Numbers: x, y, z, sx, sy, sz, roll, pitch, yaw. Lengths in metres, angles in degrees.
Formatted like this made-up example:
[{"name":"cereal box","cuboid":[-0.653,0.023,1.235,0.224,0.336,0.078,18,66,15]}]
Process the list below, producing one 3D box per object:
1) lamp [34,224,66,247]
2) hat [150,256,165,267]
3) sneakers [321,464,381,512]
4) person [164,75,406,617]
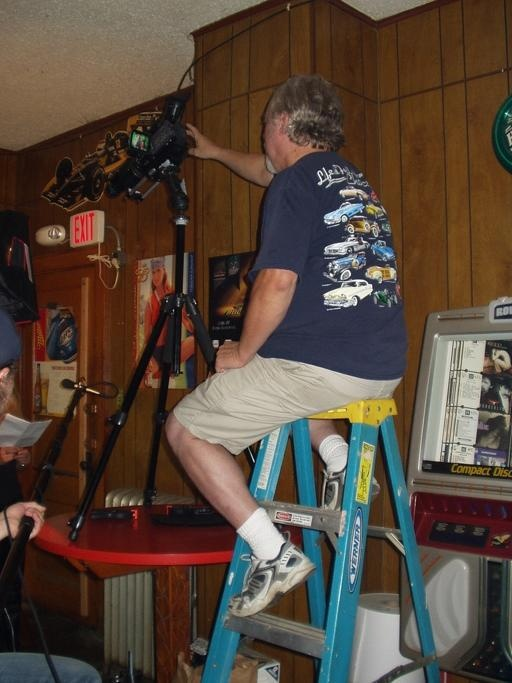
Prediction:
[{"name":"lamp","cuboid":[-1.289,-0.651,3.879,0.172,0.138,0.126,-4,-12,-2]},{"name":"hat","cuboid":[-0.528,-0.425,3.319,0.062,0.048,0.053,2,-2,10]},{"name":"sneakers","cuboid":[0.228,0.366,1.532,0.072,0.096,0.214,-11,-17,-11]},{"name":"person","cuboid":[0.102,-0.023,1.515,0.433,0.989,0.477,2,-1,43]}]
